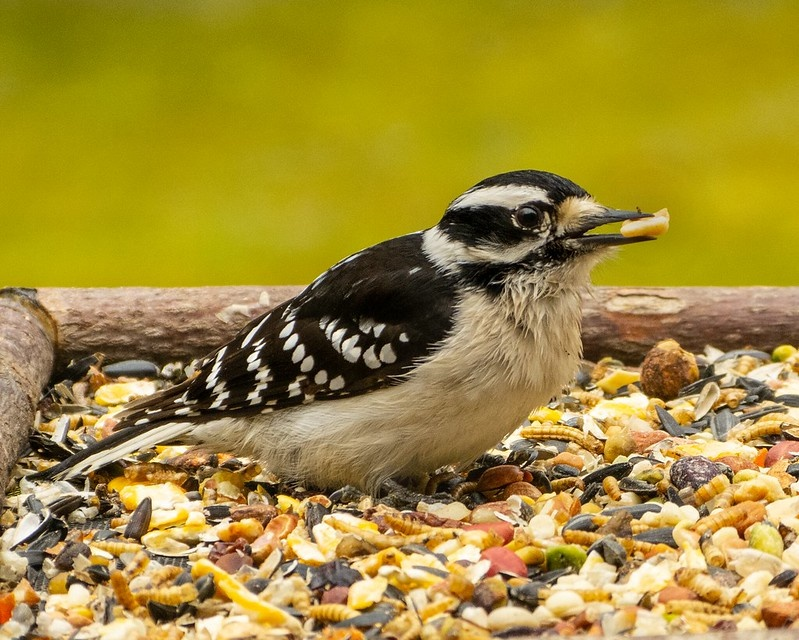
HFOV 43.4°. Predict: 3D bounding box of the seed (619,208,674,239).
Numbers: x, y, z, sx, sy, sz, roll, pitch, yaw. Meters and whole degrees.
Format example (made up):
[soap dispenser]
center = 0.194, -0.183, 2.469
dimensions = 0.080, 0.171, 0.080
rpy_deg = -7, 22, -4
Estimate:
[seed]
center = 0.949, -0.358, 3.873
dimensions = 0.139, 0.054, 0.138
rpy_deg = -22, -3, 31
